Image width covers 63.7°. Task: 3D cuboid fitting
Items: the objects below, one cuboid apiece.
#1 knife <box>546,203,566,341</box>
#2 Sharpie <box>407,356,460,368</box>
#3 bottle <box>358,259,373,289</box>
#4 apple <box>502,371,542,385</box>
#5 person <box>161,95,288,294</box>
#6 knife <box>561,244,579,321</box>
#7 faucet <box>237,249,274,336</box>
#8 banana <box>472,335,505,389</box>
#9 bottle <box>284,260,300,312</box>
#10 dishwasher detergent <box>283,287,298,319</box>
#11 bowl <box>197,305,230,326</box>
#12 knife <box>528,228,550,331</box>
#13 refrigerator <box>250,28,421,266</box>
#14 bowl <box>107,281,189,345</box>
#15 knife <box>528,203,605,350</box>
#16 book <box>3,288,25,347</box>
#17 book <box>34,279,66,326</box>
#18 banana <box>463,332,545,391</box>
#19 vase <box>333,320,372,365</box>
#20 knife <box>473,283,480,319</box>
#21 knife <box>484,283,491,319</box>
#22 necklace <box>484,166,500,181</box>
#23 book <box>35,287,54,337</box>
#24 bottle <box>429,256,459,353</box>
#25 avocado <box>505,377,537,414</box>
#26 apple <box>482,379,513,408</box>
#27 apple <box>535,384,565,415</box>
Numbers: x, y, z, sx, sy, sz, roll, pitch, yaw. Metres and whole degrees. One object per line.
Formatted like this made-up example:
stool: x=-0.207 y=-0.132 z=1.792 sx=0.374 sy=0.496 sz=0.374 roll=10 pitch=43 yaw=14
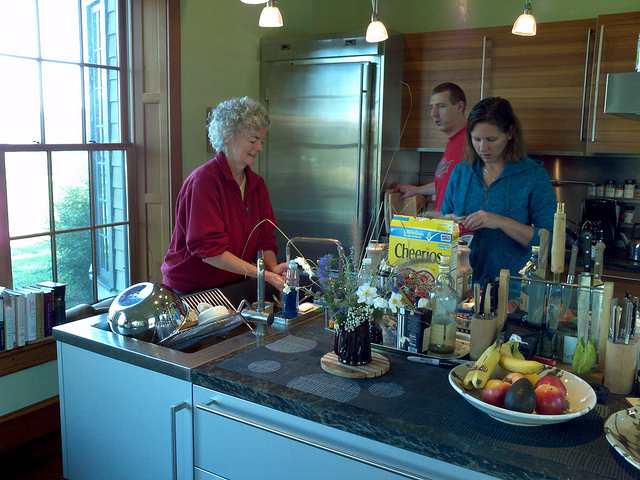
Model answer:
knife: x=0.861 y=0.104 z=1.876 sx=0.043 sy=0.471 sz=0.263 roll=3 pitch=9 yaw=26
Sharpie: x=0.390 y=0.423 z=1.782 sx=0.182 sy=0.027 sz=0.028 roll=0 pitch=9 yaw=26
bottle: x=0.161 y=0.112 z=1.861 sx=0.047 sy=0.088 sz=0.078 roll=0 pitch=8 yaw=4
apple: x=0.626 y=0.420 z=1.596 sx=0.105 sy=0.042 sz=0.055 roll=0 pitch=16 yaw=-10
person: x=-0.483 y=-0.223 z=2.551 sx=0.599 sy=0.952 sz=0.453 roll=-3 pitch=8 yaw=-17
knife: x=0.902 y=0.160 z=1.876 sx=0.056 sy=0.051 sz=0.578 roll=-21 pitch=17 yaw=34
faucet: x=-0.251 y=0.198 z=2.048 sx=0.153 sy=0.331 sz=0.097 roll=7 pitch=10 yaw=39
banana: x=0.526 y=0.381 z=1.618 sx=0.083 sy=0.116 sz=0.090 roll=6 pitch=12 yaw=16
bottle: x=-0.116 y=0.190 z=2.146 sx=0.060 sy=0.242 sz=0.209 roll=-1 pitch=8 yaw=-4
dishwasher detergent: x=-0.125 y=0.258 z=2.135 sx=0.059 sy=0.127 sz=0.033 roll=-1 pitch=8 yaw=-7
bowl: x=-0.436 y=0.319 z=2.102 sx=0.081 sy=0.033 sz=0.083 roll=-20 pitch=-3 yaw=-1
knife: x=0.751 y=0.148 z=1.788 sx=0.067 sy=0.427 sz=0.025 roll=12 pitch=37 yaw=41
refrigerator: x=0.225 y=-0.298 z=4.631 sx=1.152 sy=2.802 sz=0.786 roll=5 pitch=9 yaw=24
bowl: x=-0.717 y=0.280 z=2.102 sx=0.313 sy=0.178 sz=0.324 roll=-11 pitch=17 yaw=3
knife: x=0.872 y=0.159 z=1.855 sx=0.253 sy=0.629 sz=0.048 roll=3 pitch=24 yaw=23
book: x=-1.826 y=0.478 z=3.105 sx=0.078 sy=0.349 sz=0.108 roll=-8 pitch=11 yaw=-43
book: x=-1.679 y=0.399 z=3.194 sx=0.236 sy=0.300 sz=0.165 roll=2 pitch=4 yaw=37
banana: x=0.582 y=0.394 z=1.620 sx=0.149 sy=0.127 sz=0.236 roll=33 pitch=25 yaw=33
vase: x=0.116 y=0.342 z=1.782 sx=0.129 sy=0.149 sz=0.108 roll=-1 pitch=8 yaw=-4
knife: x=0.546 y=0.210 z=1.791 sx=0.020 sy=0.129 sz=0.073 roll=2 pitch=8 yaw=17
knife: x=0.585 y=0.211 z=1.801 sx=0.019 sy=0.123 sz=0.031 roll=2 pitch=8 yaw=19
necklace: x=0.940 y=-0.364 z=2.824 sx=0.024 sy=0.064 sz=0.114 roll=-3 pitch=8 yaw=-20
book: x=-1.699 y=0.425 z=3.163 sx=0.143 sy=0.262 sz=0.257 roll=-3 pitch=10 yaw=-34
bottle: x=0.462 y=0.227 z=1.858 sx=0.136 sy=0.353 sz=0.079 roll=-7 pitch=10 yaw=-42
avocado: x=0.578 y=0.448 z=1.481 sx=0.085 sy=0.084 sz=0.056 roll=-3 pitch=8 yaw=-20
apple: x=0.537 y=0.464 z=1.544 sx=0.079 sy=0.094 sz=0.080 roll=-2 pitch=10 yaw=28
apple: x=0.663 y=0.461 z=1.488 sx=0.070 sy=0.090 sz=0.076 roll=-7 pitch=-10 yaw=-2
